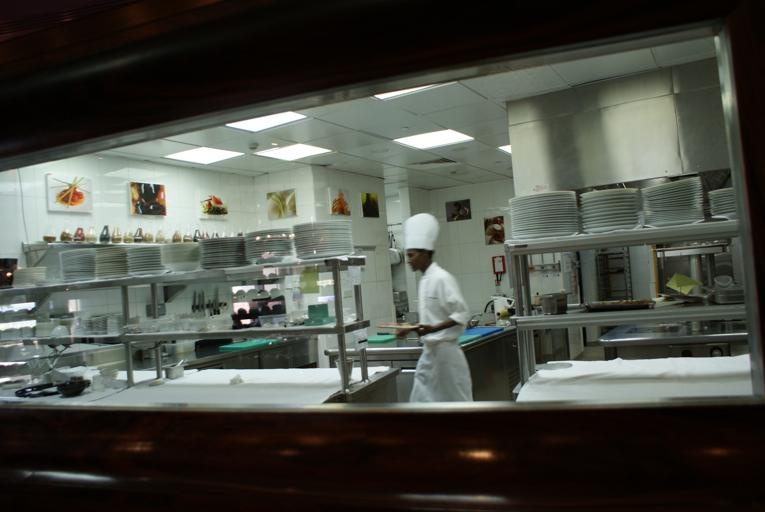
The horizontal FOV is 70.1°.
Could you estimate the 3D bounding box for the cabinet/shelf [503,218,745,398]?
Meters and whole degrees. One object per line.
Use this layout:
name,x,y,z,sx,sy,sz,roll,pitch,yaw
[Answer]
cabinet/shelf,0.977,0.280,2.133,0.909,0.667,0.286,-6,-8,12

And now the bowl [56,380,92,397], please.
bowl,-1.565,0.672,2.756,0.145,0.071,0.130,-3,0,44

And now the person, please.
person,0.332,0.460,3.420,0.406,0.951,0.518,-4,-1,7

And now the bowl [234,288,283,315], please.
bowl,-0.663,0.250,2.947,0.212,0.101,0.190,-1,-3,12

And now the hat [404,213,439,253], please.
hat,0.207,-0.153,3.621,0.232,0.219,0.272,-1,-5,32

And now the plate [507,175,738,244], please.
plate,0.923,-0.177,2.218,0.599,0.142,0.416,-4,-2,29

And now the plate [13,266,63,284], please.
plate,-2.076,0.110,3.270,0.235,0.060,0.162,-1,-2,-16
